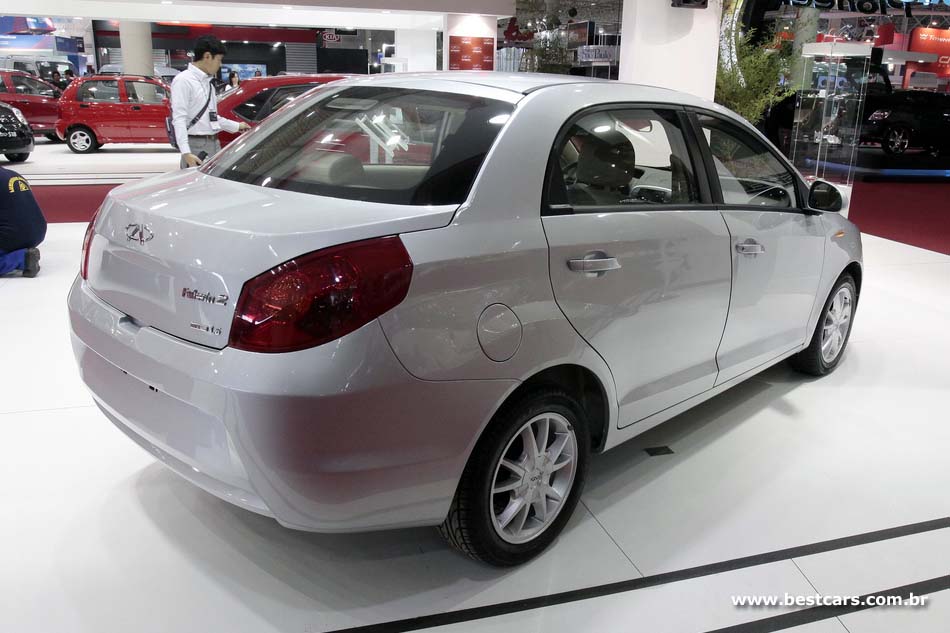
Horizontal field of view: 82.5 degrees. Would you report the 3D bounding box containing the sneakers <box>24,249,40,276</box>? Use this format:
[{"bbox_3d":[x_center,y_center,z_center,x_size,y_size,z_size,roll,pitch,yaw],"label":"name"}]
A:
[{"bbox_3d":[-4.149,-0.508,5.115,0.126,0.291,0.124,2,4,-44],"label":"sneakers"}]

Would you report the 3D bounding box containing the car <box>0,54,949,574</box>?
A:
[{"bbox_3d":[0.091,-0.130,2.549,3.233,1.930,1.267,-12,23,-34],"label":"car"}]
